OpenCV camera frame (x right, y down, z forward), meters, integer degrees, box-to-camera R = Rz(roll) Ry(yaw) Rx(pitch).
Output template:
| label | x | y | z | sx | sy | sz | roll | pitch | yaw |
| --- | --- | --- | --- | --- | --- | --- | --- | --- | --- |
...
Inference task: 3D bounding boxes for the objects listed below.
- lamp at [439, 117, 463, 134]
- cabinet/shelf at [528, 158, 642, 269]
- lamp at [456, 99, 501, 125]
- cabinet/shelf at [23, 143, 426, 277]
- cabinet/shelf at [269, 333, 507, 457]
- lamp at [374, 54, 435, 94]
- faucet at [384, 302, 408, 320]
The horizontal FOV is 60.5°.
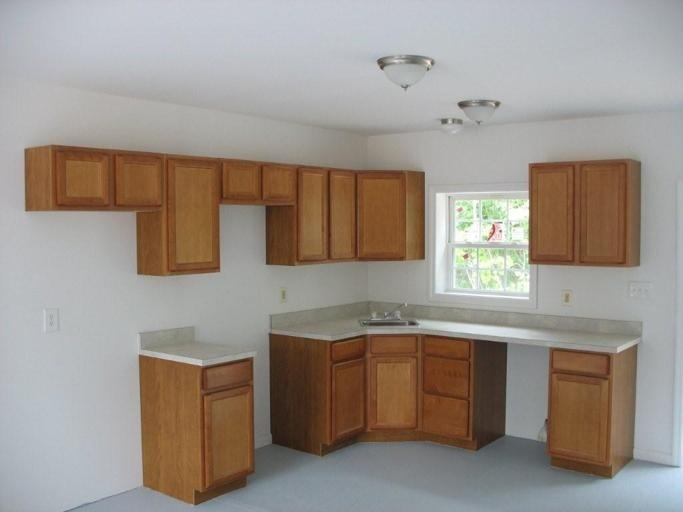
| label | x | y | z | sx | sy | sz | roll | pitch | yaw |
| --- | --- | --- | --- | --- | --- | --- | --- | --- | --- |
| lamp | 0.991 | -1.182 | 5.302 | 0.147 | 0.093 | 0.149 | 0 | 0 | 35 |
| cabinet/shelf | 2.104 | -0.371 | 5.018 | 0.955 | 0.930 | 0.375 | 1 | 1 | 36 |
| lamp | 1.089 | -1.177 | 4.721 | 0.196 | 0.097 | 0.199 | -3 | -4 | 42 |
| cabinet/shelf | -0.739 | -0.357 | 5.034 | 3.493 | 0.951 | 0.533 | -4 | 8 | -36 |
| cabinet/shelf | 0.338 | 1.231 | 5.338 | 1.360 | 0.848 | 1.356 | -3 | -3 | 36 |
| lamp | 0.402 | -1.139 | 3.714 | 0.383 | 0.164 | 0.379 | 2 | 6 | 6 |
| faucet | 0.560 | 0.575 | 6.098 | 0.219 | 0.126 | 0.530 | 2 | 6 | 9 |
